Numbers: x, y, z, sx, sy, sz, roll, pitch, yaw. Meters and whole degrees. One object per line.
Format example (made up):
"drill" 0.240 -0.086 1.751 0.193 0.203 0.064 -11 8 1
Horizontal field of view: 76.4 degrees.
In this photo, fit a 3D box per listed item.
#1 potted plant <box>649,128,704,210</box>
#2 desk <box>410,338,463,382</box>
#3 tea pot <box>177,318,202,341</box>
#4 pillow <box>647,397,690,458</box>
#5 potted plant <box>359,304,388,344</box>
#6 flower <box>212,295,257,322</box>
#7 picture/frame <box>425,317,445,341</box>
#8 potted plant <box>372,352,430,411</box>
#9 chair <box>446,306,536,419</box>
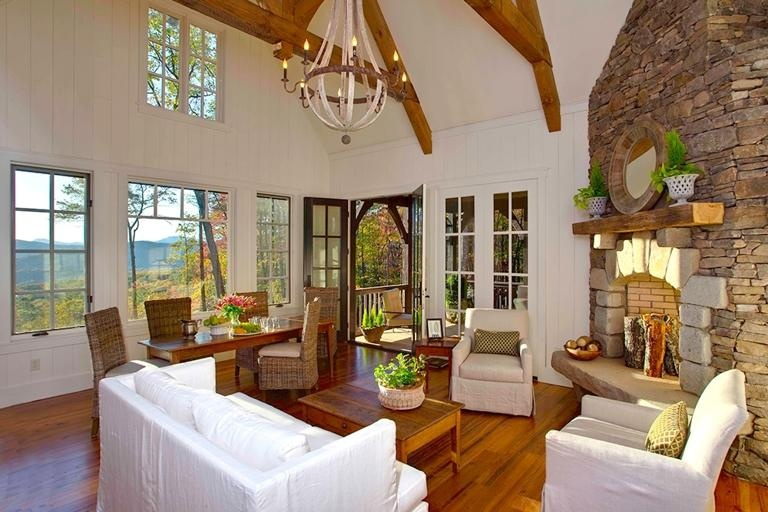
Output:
"potted plant" 2.958 -0.922 4.939 0.304 0.725 0.409 -3 0 -14
"desk" 0.675 1.261 6.145 0.515 0.505 0.525 -3 -7 24
"tea pot" -2.308 0.862 5.804 0.184 0.241 0.258 -3 -1 -26
"pillow" 2.301 1.396 3.944 0.157 0.267 0.323 5 -2 17
"potted plant" -0.195 1.228 8.637 0.368 0.640 0.506 -3 0 11
"flower" -1.874 0.637 6.067 0.454 0.331 0.443 6 -12 -43
"picture/frame" 0.648 0.938 6.269 0.219 0.277 0.189 -3 0 1
"potted plant" 0.174 1.245 4.874 0.458 0.470 0.529 -1 -9 10
"chair" 1.379 1.247 6.140 1.017 1.215 1.174 -1 -8 17
